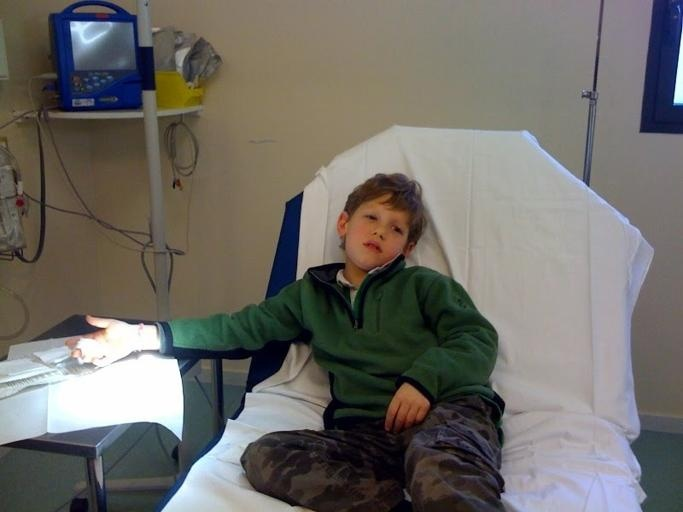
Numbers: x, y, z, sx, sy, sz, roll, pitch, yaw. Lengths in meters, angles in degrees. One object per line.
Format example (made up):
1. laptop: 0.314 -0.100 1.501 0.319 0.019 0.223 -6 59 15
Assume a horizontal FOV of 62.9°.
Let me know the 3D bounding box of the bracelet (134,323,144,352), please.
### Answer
1. bracelet: -0.542 0.215 1.490 0.031 0.063 0.016 9 -21 -31

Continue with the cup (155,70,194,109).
1. cup: -0.620 -0.617 2.089 0.094 0.104 0.137 3 21 13
